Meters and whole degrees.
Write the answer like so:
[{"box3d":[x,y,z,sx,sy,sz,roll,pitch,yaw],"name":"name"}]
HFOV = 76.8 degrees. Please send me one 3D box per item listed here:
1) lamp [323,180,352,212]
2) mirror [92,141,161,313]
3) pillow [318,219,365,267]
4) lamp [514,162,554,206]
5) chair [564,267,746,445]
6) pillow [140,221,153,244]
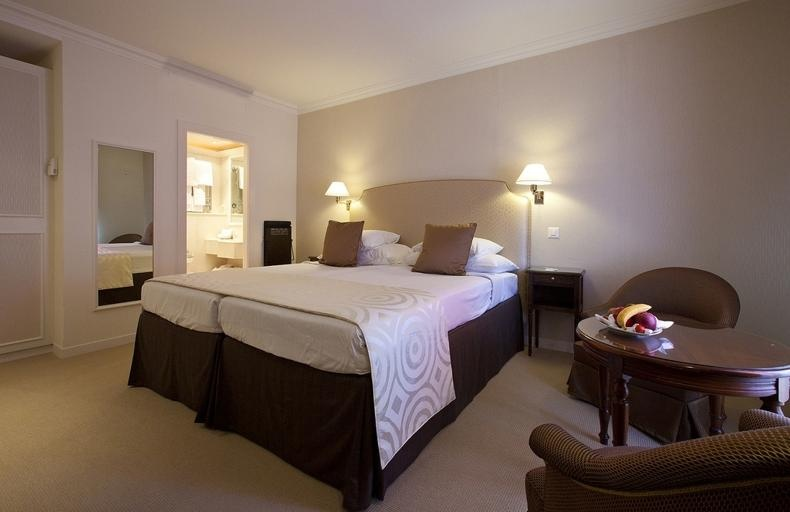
[{"box3d":[-0.820,-0.809,6.864,0.354,0.430,0.437,-1,0,28],"name":"lamp"},{"box3d":[-3.041,-0.338,5.802,0.639,1.984,0.047,-3,27,-27],"name":"mirror"},{"box3d":[-0.616,-0.153,5.972,0.622,0.537,0.296,-2,2,36],"name":"pillow"},{"box3d":[1.520,-0.789,5.577,0.434,0.508,0.436,4,-4,-40],"name":"lamp"},{"box3d":[2.477,0.803,4.825,1.539,1.473,1.366,5,-3,-39],"name":"chair"},{"box3d":[-2.940,-0.278,5.874,0.061,0.209,0.177,21,-12,-28],"name":"pillow"}]
